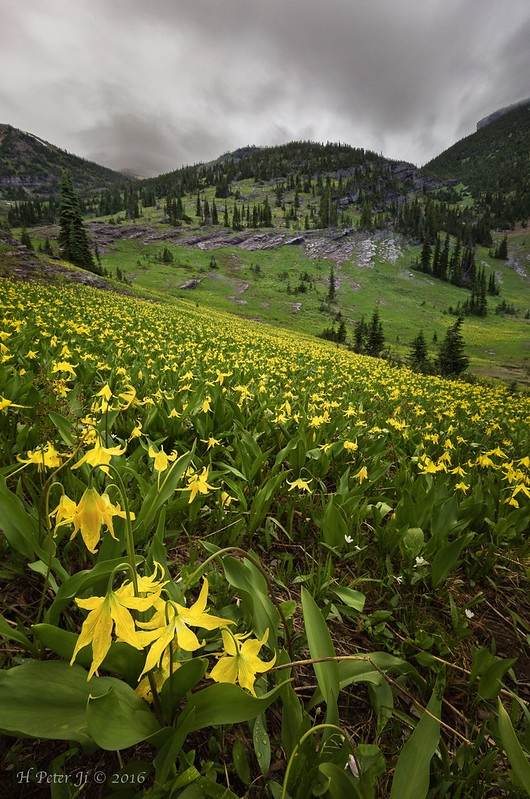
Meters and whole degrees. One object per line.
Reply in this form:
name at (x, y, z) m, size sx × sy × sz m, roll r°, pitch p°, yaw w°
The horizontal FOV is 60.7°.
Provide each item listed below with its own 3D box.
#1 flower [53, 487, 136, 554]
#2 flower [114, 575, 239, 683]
flower at (-0.431, 0.283, 1.151) m, size 0.175 × 0.157 × 0.192 m, roll -10°, pitch -2°, yaw -9°
flower at (-0.190, 0.541, 1.020) m, size 0.227 × 0.249 × 0.257 m, roll -8°, pitch -4°, yaw -1°
